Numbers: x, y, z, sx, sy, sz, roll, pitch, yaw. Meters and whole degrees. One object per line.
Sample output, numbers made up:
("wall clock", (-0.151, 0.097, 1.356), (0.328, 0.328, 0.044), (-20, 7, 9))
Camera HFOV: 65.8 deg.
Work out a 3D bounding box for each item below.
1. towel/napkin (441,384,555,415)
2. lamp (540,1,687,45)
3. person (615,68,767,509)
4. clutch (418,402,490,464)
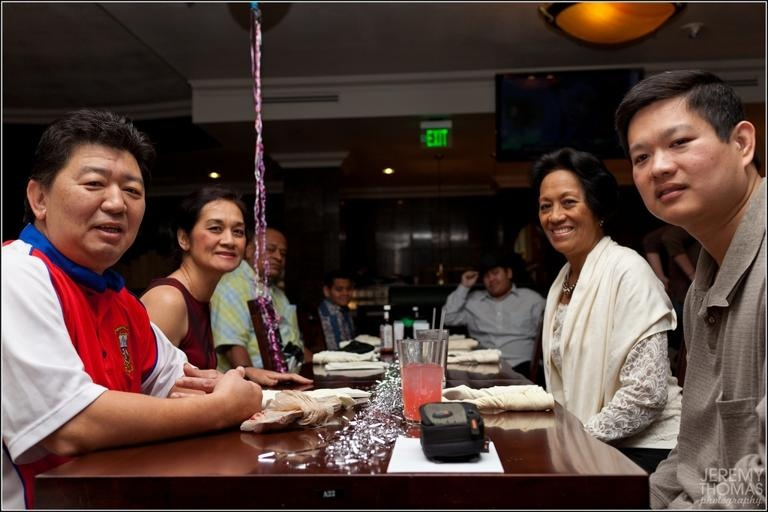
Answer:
("towel/napkin", (0.368, 0.453, 1.900), (0.241, 0.040, 0.141), (-1, -2, -3))
("lamp", (1.040, -1.083, 2.759), (0.303, 0.096, 0.303), (1, 7, 28))
("person", (0.944, 0.092, 1.778), (0.413, 1.336, 0.499), (-4, 2, 24))
("clutch", (0.159, 0.475, 1.618), (0.163, 0.105, 0.212), (19, -10, -40))
